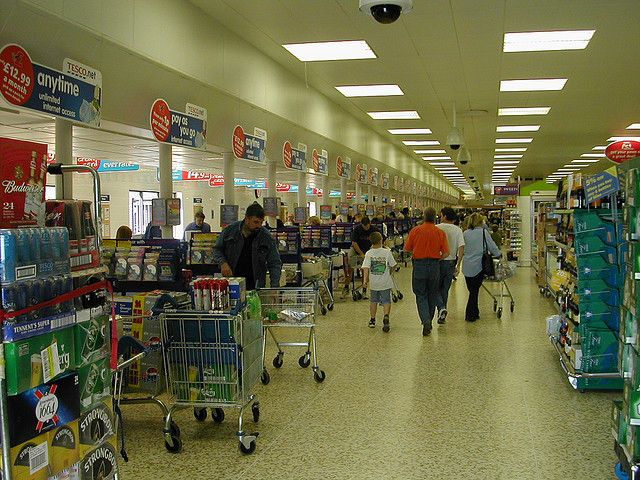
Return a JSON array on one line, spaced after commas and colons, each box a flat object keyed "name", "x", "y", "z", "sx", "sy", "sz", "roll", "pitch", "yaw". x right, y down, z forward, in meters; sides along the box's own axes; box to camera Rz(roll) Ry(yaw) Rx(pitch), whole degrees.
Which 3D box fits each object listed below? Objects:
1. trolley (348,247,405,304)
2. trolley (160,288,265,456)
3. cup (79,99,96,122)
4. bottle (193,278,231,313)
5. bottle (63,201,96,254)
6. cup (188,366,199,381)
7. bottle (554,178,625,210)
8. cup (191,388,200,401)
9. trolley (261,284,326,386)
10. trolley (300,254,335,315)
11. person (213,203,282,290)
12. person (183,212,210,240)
[{"name": "trolley", "x": 0.930, "y": 0.685, "z": 7.807, "sx": 0.564, "sy": 1.138, "sz": 0.333, "roll": 0, "pitch": -8, "yaw": -9}, {"name": "trolley", "x": -0.896, "y": 1.131, "z": 4.275, "sx": 0.767, "sy": 1.221, "sz": 1.211, "roll": -1, "pitch": -3, "yaw": 6}, {"name": "cup", "x": -2.627, "y": -1.459, "z": 5.473, "sx": 0.076, "sy": 0.206, "sz": 0.178, "roll": -2, "pitch": -3, "yaw": 30}, {"name": "bottle", "x": -0.876, "y": 0.427, "z": 4.038, "sx": 0.304, "sy": 0.326, "sz": 0.234, "roll": 0, "pitch": -2, "yaw": -1}, {"name": "bottle", "x": -1.414, "y": -0.068, "z": 2.837, "sx": 0.158, "sy": 0.291, "sz": 0.305, "roll": -1, "pitch": 2, "yaw": 2}, {"name": "cup", "x": -1.018, "y": 1.076, "z": 3.905, "sx": 0.099, "sy": 0.117, "sz": 0.100, "roll": 1, "pitch": -1, "yaw": 0}, {"name": "bottle", "x": 2.795, "y": -0.479, "z": 5.013, "sx": 0.459, "sy": 0.213, "sz": 0.627, "roll": -1, "pitch": 0, "yaw": 16}, {"name": "cup", "x": -1.006, "y": 1.243, "z": 3.912, "sx": 0.082, "sy": 0.101, "sz": 0.085, "roll": 1, "pitch": -3, "yaw": 0}, {"name": "trolley", "x": -0.338, "y": 1.040, "z": 5.668, "sx": 0.713, "sy": 1.148, "sz": 1.096, "roll": -1, "pitch": -1, "yaw": -1}, {"name": "trolley", "x": -0.114, "y": 0.839, "z": 9.852, "sx": 0.898, "sy": 0.923, "sz": 0.739, "roll": -2, "pitch": -22, "yaw": 3}, {"name": "person", "x": -0.820, "y": 0.066, "z": 5.496, "sx": 0.726, "sy": 0.999, "sz": 0.719, "roll": -1, "pitch": 2, "yaw": -13}, {"name": "person", "x": -3.571, "y": -0.463, "z": 13.761, "sx": 0.924, "sy": 0.957, "sz": 0.525, "roll": 1, "pitch": -1, "yaw": -9}]
